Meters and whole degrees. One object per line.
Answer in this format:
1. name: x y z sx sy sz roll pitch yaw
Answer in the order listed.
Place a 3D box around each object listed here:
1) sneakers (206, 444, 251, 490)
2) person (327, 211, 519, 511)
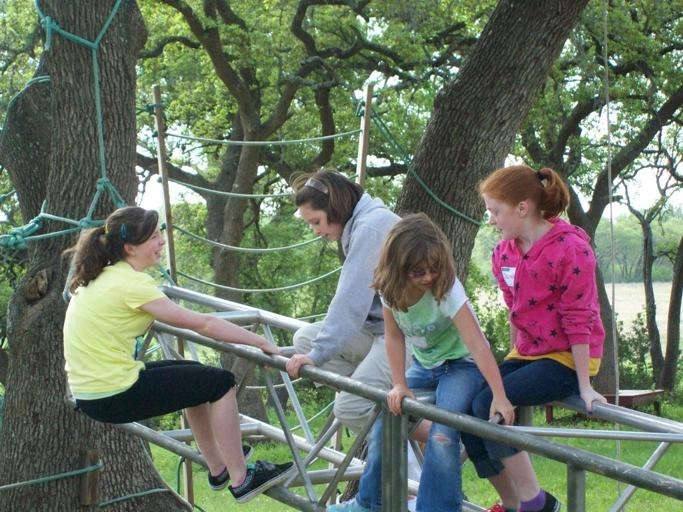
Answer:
1. sneakers: -0.966 1.763 7.960 0.131 0.163 0.408 -2 6 15
2. person: 0.663 0.807 7.373 1.150 2.286 0.589 2 -5 10
